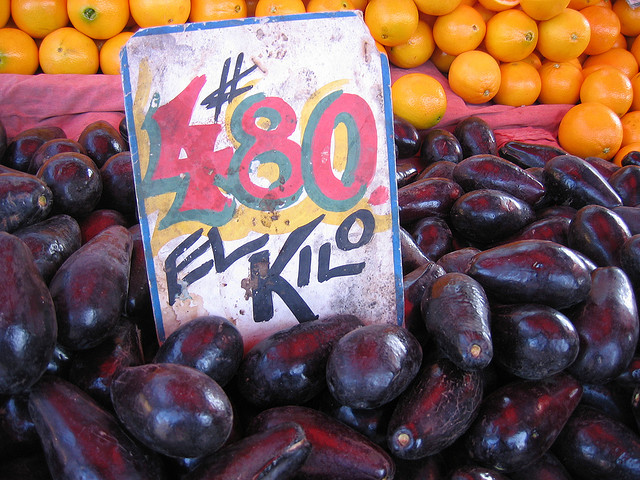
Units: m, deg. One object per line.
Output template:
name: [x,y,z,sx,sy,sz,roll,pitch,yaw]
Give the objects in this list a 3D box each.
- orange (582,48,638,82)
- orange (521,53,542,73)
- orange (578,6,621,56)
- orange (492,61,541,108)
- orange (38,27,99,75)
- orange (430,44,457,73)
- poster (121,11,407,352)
orange: [1.483,-0.905,3.105,0.201,0.216,0.200,1,17,5]
orange: [1.015,-0.865,2.922,0.072,0.105,0.054,-8,20,27]
orange: [1.384,-1.051,3.070,0.174,0.238,0.196,-1,6,-1]
orange: [0.910,-0.714,2.818,0.177,0.221,0.195,0,12,7]
orange: [-1.045,-0.794,2.563,0.195,0.225,0.203,21,-10,-22]
orange: [0.588,-0.857,2.883,0.098,0.124,0.111,-14,0,4]
poster: [-0.151,-0.125,1.710,0.663,1.091,0.088,-4,39,-8]
